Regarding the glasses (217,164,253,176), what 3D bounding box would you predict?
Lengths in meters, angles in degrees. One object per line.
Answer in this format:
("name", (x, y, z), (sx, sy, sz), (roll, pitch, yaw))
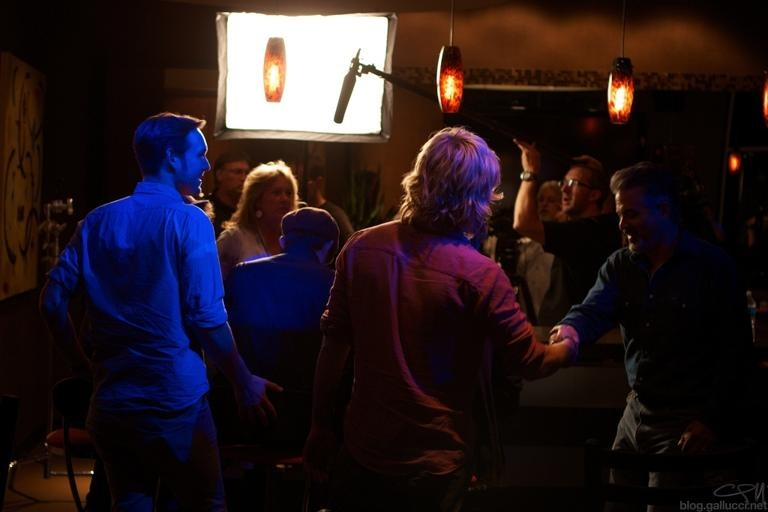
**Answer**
("glasses", (-1.183, -0.686, 5.829), (0.156, 0.085, 0.114), (5, 0, 0))
